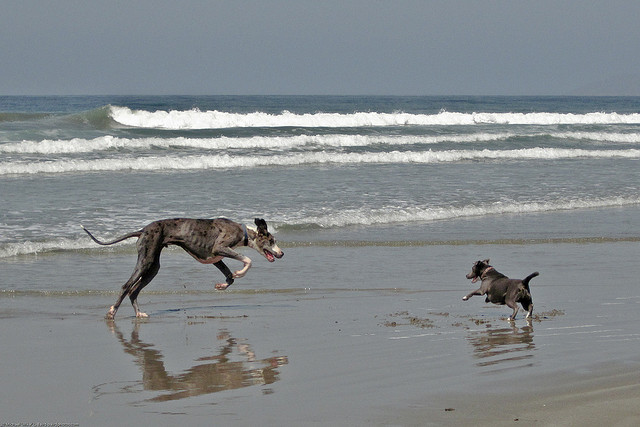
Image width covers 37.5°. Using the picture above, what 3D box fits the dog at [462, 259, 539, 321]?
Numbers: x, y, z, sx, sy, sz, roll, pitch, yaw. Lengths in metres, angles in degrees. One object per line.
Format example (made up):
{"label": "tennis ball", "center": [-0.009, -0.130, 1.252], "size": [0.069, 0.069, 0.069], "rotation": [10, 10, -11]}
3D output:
{"label": "dog", "center": [3.736, 1.581, 19.933], "size": [0.873, 1.215, 1.614], "rotation": [-6, 1, -24]}
